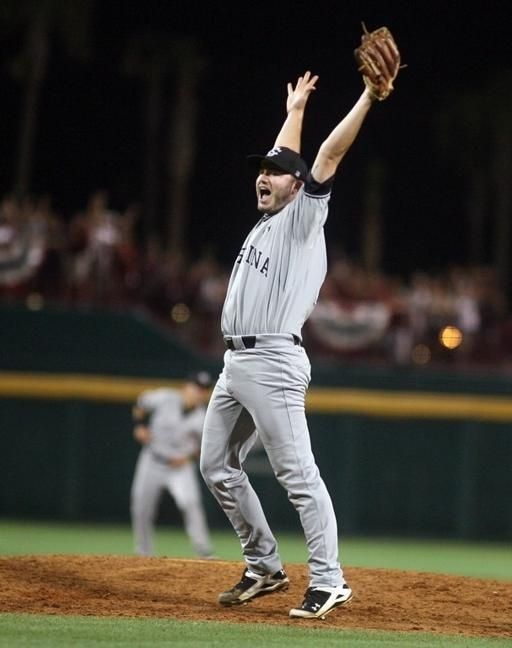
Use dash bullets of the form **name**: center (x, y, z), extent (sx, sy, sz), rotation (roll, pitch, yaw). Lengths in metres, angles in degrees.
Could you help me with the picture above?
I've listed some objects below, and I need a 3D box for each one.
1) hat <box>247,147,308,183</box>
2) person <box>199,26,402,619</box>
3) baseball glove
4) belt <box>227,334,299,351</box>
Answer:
- **hat**: center (0.094, -0.670, 4.864), extent (0.221, 0.123, 0.149), rotation (16, 0, -18)
- **person**: center (0.145, -0.015, 4.829), extent (0.461, 2.441, 0.898), rotation (6, -7, -42)
- **baseball glove**: center (0.475, -1.081, 4.675), extent (0.175, 0.064, 0.287), rotation (-33, -42, 2)
- **belt**: center (0.021, 0.085, 4.795), extent (0.318, 0.070, 0.198), rotation (1, -5, 2)
